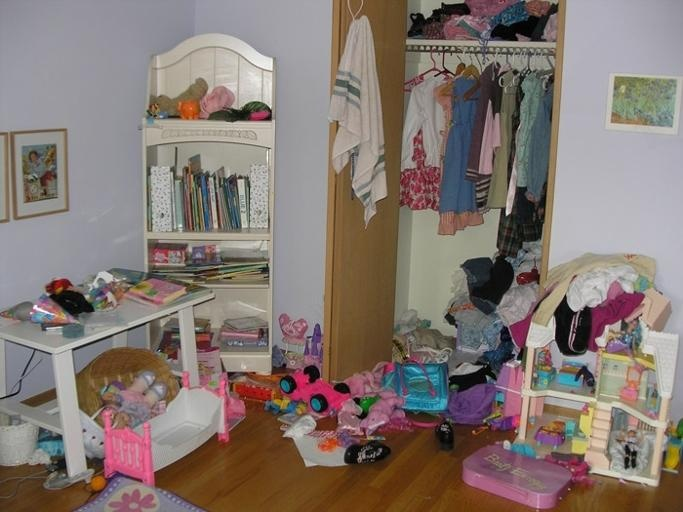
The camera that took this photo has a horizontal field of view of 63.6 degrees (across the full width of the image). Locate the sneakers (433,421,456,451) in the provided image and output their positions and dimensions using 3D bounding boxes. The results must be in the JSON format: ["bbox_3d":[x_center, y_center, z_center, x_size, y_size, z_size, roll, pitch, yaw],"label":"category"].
[{"bbox_3d":[0.582,0.979,3.049,0.108,0.202,0.121,-3,-1,21],"label":"sneakers"}]

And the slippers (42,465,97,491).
[{"bbox_3d":[-1.306,1.062,2.635,0.140,0.040,0.098,-6,14,-33],"label":"slippers"}]

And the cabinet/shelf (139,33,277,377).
[{"bbox_3d":[-0.848,-0.450,3.756,0.768,1.929,0.452,0,13,-15],"label":"cabinet/shelf"}]

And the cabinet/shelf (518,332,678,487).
[{"bbox_3d":[1.368,0.586,3.204,0.898,0.950,0.717,6,7,24],"label":"cabinet/shelf"}]

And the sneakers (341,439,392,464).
[{"bbox_3d":[0.125,1.007,2.869,0.188,0.060,0.110,-4,22,-14],"label":"sneakers"}]
